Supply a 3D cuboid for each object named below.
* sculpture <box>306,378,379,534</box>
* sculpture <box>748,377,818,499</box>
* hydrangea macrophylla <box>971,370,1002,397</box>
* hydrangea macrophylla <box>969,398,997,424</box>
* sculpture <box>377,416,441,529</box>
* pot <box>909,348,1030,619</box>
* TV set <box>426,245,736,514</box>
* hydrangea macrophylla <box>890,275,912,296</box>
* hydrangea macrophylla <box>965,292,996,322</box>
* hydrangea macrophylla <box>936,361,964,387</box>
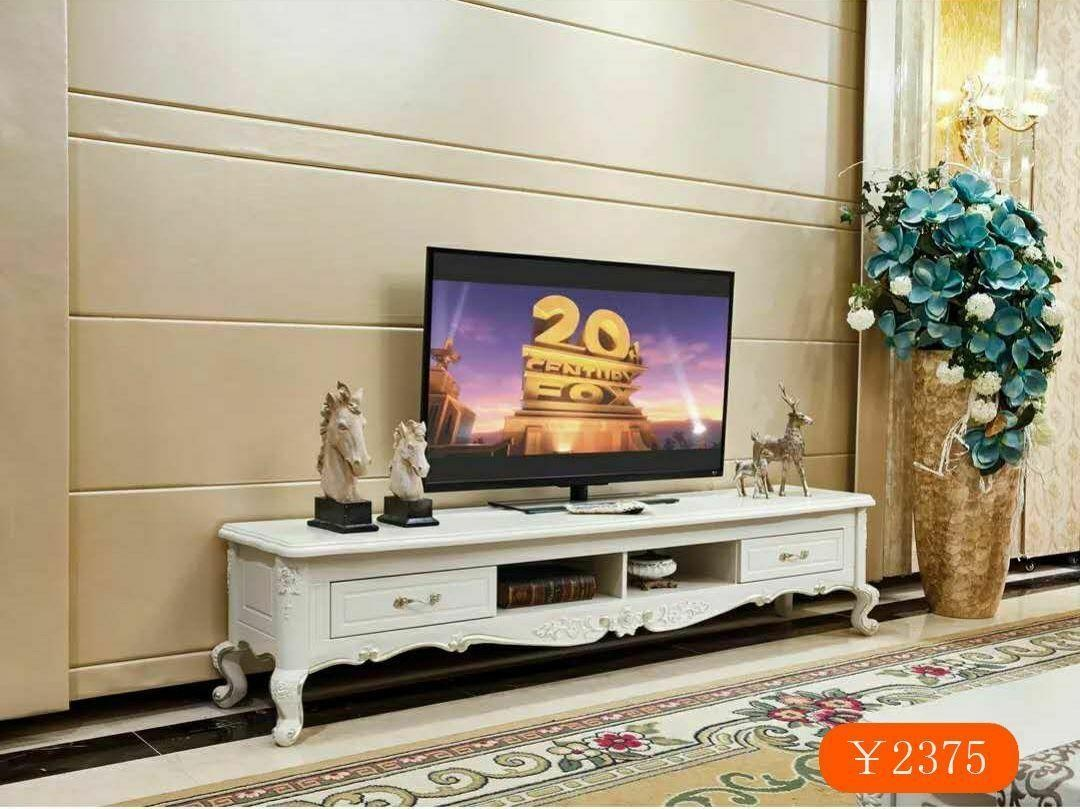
[{"bbox_3d":[-0.736,0.187,3.067,0.321,0.523,0.142,1,2,34],"label":"sculpture"},{"bbox_3d":[1.216,0.177,4.260,0.266,0.542,0.692,1,2,17],"label":"sculpture"},{"bbox_3d":[2.171,-0.102,4.153,0.120,0.106,0.124,-24,36,14],"label":"hydrangea macrophylla"},{"bbox_3d":[2.165,0.031,4.122,0.115,0.124,0.055,-10,-23,10],"label":"hydrangea macrophylla"},{"bbox_3d":[-0.506,0.258,3.212,0.149,0.385,0.258,-1,2,-43],"label":"sculpture"},{"bbox_3d":[2.193,0.412,4.349,0.490,1.359,0.280,0,1,-9],"label":"pot"},{"bbox_3d":[0.134,-0.108,3.690,1.351,0.839,0.088,0,-1,-28],"label":"TV set"},{"bbox_3d":[1.808,-0.598,4.254,0.095,0.106,0.132,0,2,6],"label":"hydrangea macrophylla"},{"bbox_3d":[2.096,-0.463,4.030,0.133,0.091,0.134,5,13,27],"label":"hydrangea macrophylla"},{"bbox_3d":[2.016,-0.149,4.157,0.120,0.111,0.087,-11,-5,22],"label":"hydrangea macrophylla"}]
